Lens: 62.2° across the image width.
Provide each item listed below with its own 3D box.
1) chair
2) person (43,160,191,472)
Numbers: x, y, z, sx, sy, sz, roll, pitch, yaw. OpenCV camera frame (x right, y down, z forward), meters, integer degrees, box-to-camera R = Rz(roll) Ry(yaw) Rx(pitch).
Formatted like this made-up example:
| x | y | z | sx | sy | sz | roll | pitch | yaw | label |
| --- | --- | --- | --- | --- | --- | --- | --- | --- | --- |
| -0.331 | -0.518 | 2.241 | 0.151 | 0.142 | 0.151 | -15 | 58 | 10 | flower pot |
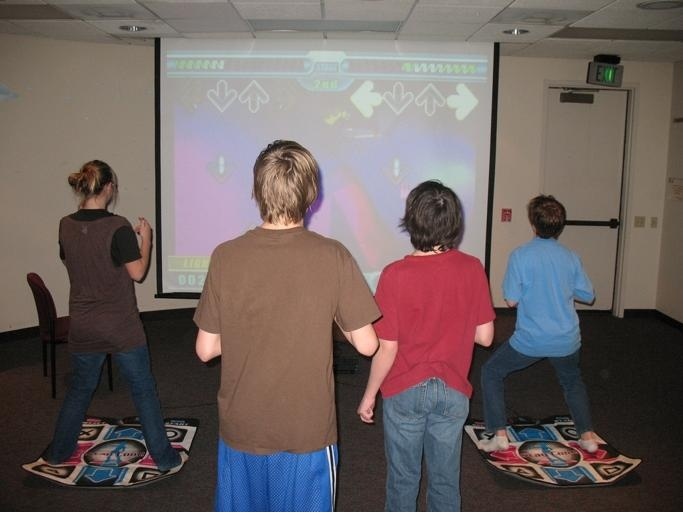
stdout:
| x | y | z | sx | sy | sz | roll | pitch | yaw | label |
| --- | --- | --- | --- | --- | --- | --- | --- | --- | --- |
| -2.485 | 0.672 | 5.187 | 0.697 | 1.080 | 0.654 | -1 | 7 | -24 | chair |
| -1.601 | 0.445 | 3.908 | 0.865 | 2.188 | 0.355 | 0 | 8 | 9 | person |
